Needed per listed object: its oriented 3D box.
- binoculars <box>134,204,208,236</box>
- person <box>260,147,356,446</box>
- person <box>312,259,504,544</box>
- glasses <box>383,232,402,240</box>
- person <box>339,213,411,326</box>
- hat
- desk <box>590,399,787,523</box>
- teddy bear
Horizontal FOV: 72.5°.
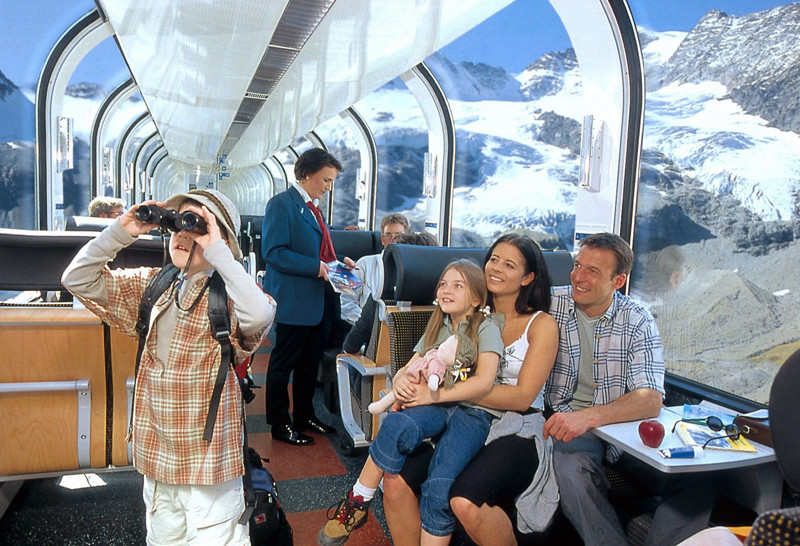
[{"bbox_3d":[-1.146,-0.265,2.769,0.350,0.156,0.221,2,6,-8],"label":"binoculars"},{"bbox_3d":[-0.827,0.206,4.857,0.783,2.508,0.830,7,9,23],"label":"person"},{"bbox_3d":[0.017,0.793,3.513,1.125,1.758,0.924,8,10,-20],"label":"person"},{"bbox_3d":[-0.076,-0.401,5.936,0.158,0.055,0.162,0,-5,0],"label":"glasses"},{"bbox_3d":[-0.231,-0.042,5.623,0.750,1.194,0.670,-1,8,-16],"label":"person"},{"bbox_3d":[-0.985,-0.273,2.972,0.352,0.160,0.406,17,-32,39],"label":"hat"},{"bbox_3d":[1.714,1.045,3.223,0.846,0.534,0.805,-7,10,-25],"label":"desk"},{"bbox_3d":[0.128,0.634,3.400,0.557,0.170,0.494,-37,15,-13],"label":"teddy bear"}]
